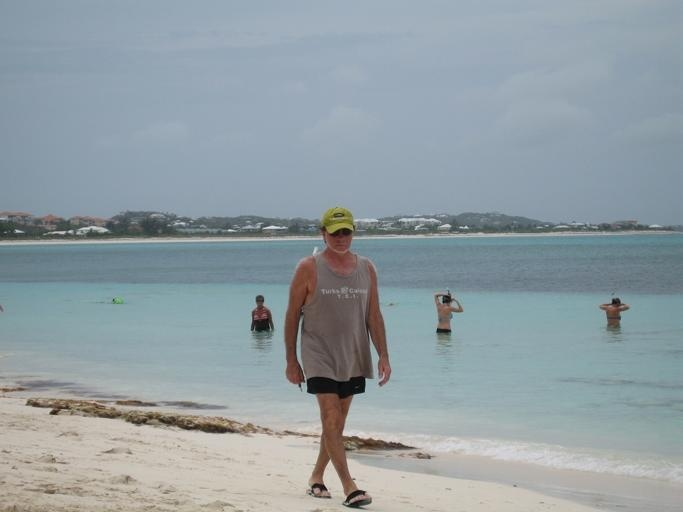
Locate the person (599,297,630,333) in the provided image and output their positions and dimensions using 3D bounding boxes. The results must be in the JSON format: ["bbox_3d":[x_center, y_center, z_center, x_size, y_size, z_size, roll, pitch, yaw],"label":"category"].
[{"bbox_3d":[9.081,1.986,33.610,1.010,0.818,0.911,-4,12,18],"label":"person"}]

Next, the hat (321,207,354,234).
[{"bbox_3d":[-0.051,-0.541,15.435,0.473,0.393,0.218,1,5,-6],"label":"hat"}]

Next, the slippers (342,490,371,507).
[{"bbox_3d":[0.241,3.722,15.363,0.418,0.303,0.207,1,5,-1],"label":"slippers"}]
